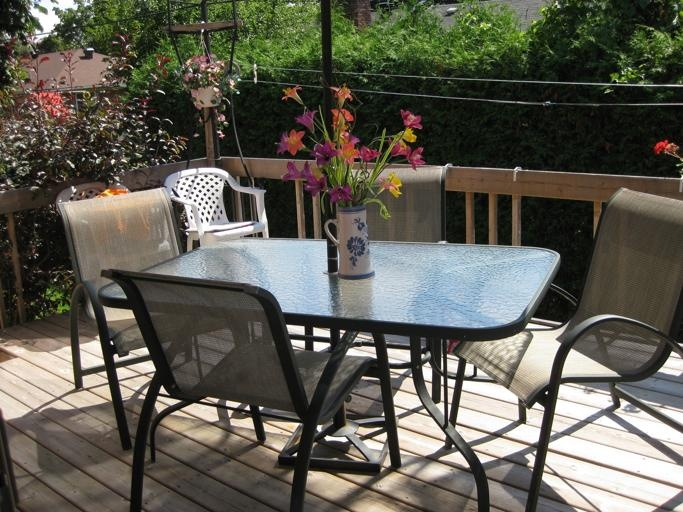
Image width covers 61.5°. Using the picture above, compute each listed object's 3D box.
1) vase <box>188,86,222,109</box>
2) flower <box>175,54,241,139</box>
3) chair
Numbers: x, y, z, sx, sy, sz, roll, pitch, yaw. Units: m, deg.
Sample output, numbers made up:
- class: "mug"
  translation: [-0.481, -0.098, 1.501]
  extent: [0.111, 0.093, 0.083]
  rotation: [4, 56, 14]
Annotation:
- class: "vase"
  translation: [-1.115, -1.314, 4.735]
  extent: [0.199, 0.128, 0.180]
  rotation: [-3, 15, 4]
- class: "flower"
  translation: [-1.116, -1.356, 4.931]
  extent: [0.539, 0.713, 0.516]
  rotation: [-9, 20, -19]
- class: "chair"
  translation: [0.078, 0.388, 2.551]
  extent: [1.547, 0.759, 0.888]
  rotation: [2, 15, 15]
